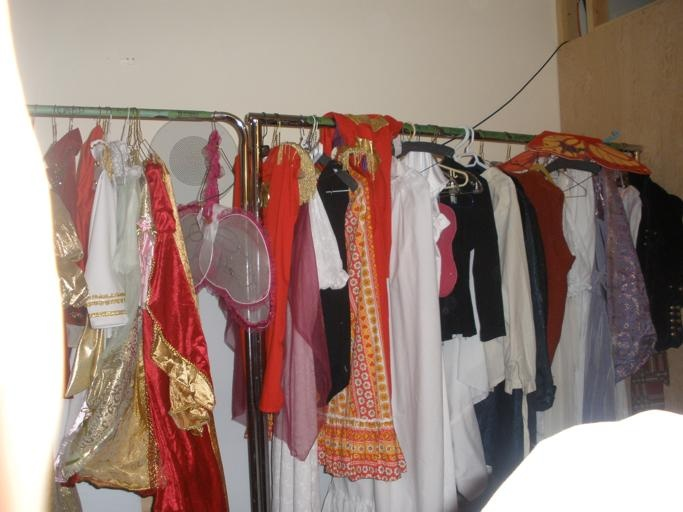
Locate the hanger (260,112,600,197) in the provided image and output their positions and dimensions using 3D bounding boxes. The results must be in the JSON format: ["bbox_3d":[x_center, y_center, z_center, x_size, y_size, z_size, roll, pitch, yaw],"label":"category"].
[{"bbox_3d":[0.300,-0.389,3.219,0.701,0.032,0.436,1,36,-19],"label":"hanger"}]

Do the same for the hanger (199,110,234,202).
[{"bbox_3d":[-0.452,-0.355,3.144,0.039,0.244,0.219,5,11,21],"label":"hanger"}]
